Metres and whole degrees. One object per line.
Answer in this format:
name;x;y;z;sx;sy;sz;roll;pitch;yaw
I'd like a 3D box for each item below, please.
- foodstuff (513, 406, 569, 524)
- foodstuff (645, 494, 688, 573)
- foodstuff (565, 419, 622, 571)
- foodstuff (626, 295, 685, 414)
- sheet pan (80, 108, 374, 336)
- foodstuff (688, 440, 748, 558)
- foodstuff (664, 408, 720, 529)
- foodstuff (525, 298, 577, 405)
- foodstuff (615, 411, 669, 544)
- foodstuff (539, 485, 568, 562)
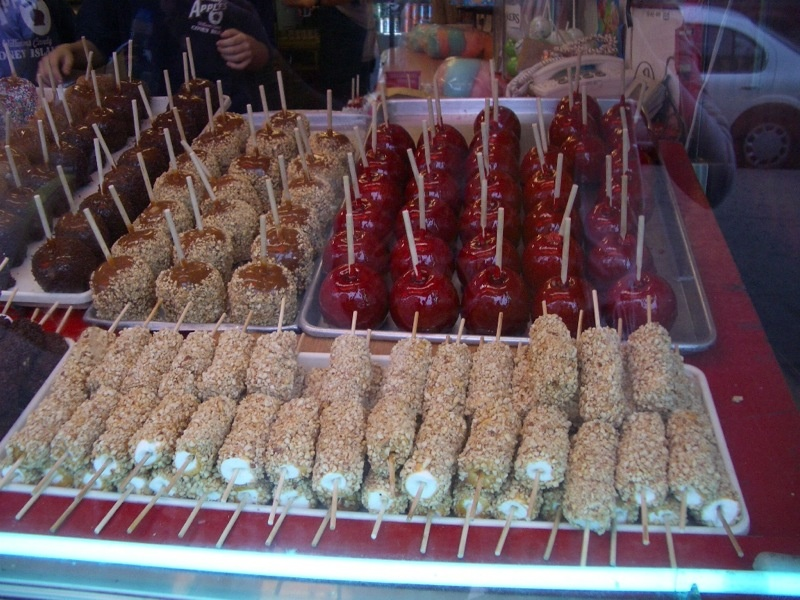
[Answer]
foodstuff;0.364;0.390;1.735;0.104;0.118;0.278;11;45;12
foodstuff;0.614;0.514;1.610;0.078;0.067;0.144;9;14;27
foodstuff;0.459;0.462;1.667;0.108;0.111;0.357;4;46;21
foodstuff;0.664;0.155;1.789;0.113;0.082;0.248;-2;41;11
sheet pan;-0.570;-0.313;2.478;0.538;0.210;0.837;8;56;-8
foodstuff;0.750;0.481;1.626;0.070;0.068;0.218;-14;23;7
foodstuff;0.705;0.395;1.672;0.125;0.084;0.229;-5;38;14
foodstuff;0.431;0.140;1.910;0.159;0.131;0.321;-15;22;17
foodstuff;0.598;0.422;1.702;0.113;0.114;0.377;2;42;21
foodstuff;0.366;0.518;1.639;0.052;0.051;0.145;-19;15;21
